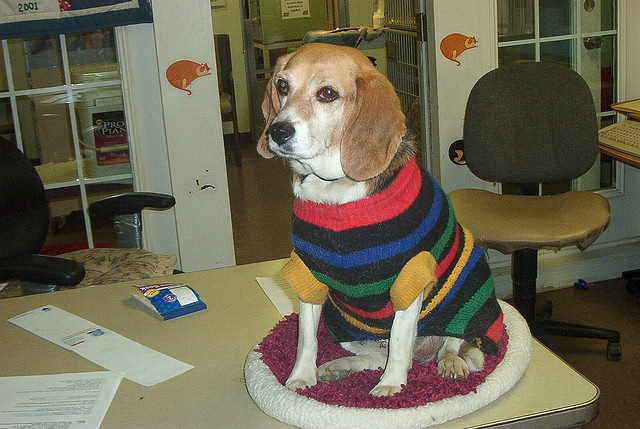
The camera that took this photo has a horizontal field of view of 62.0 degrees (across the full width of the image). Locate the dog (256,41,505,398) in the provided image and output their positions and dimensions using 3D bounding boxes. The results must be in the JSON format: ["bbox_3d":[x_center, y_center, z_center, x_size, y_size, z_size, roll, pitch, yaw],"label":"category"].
[{"bbox_3d":[0.124,0.020,1.435,0.695,0.934,0.488,0,18,18],"label":"dog"}]
